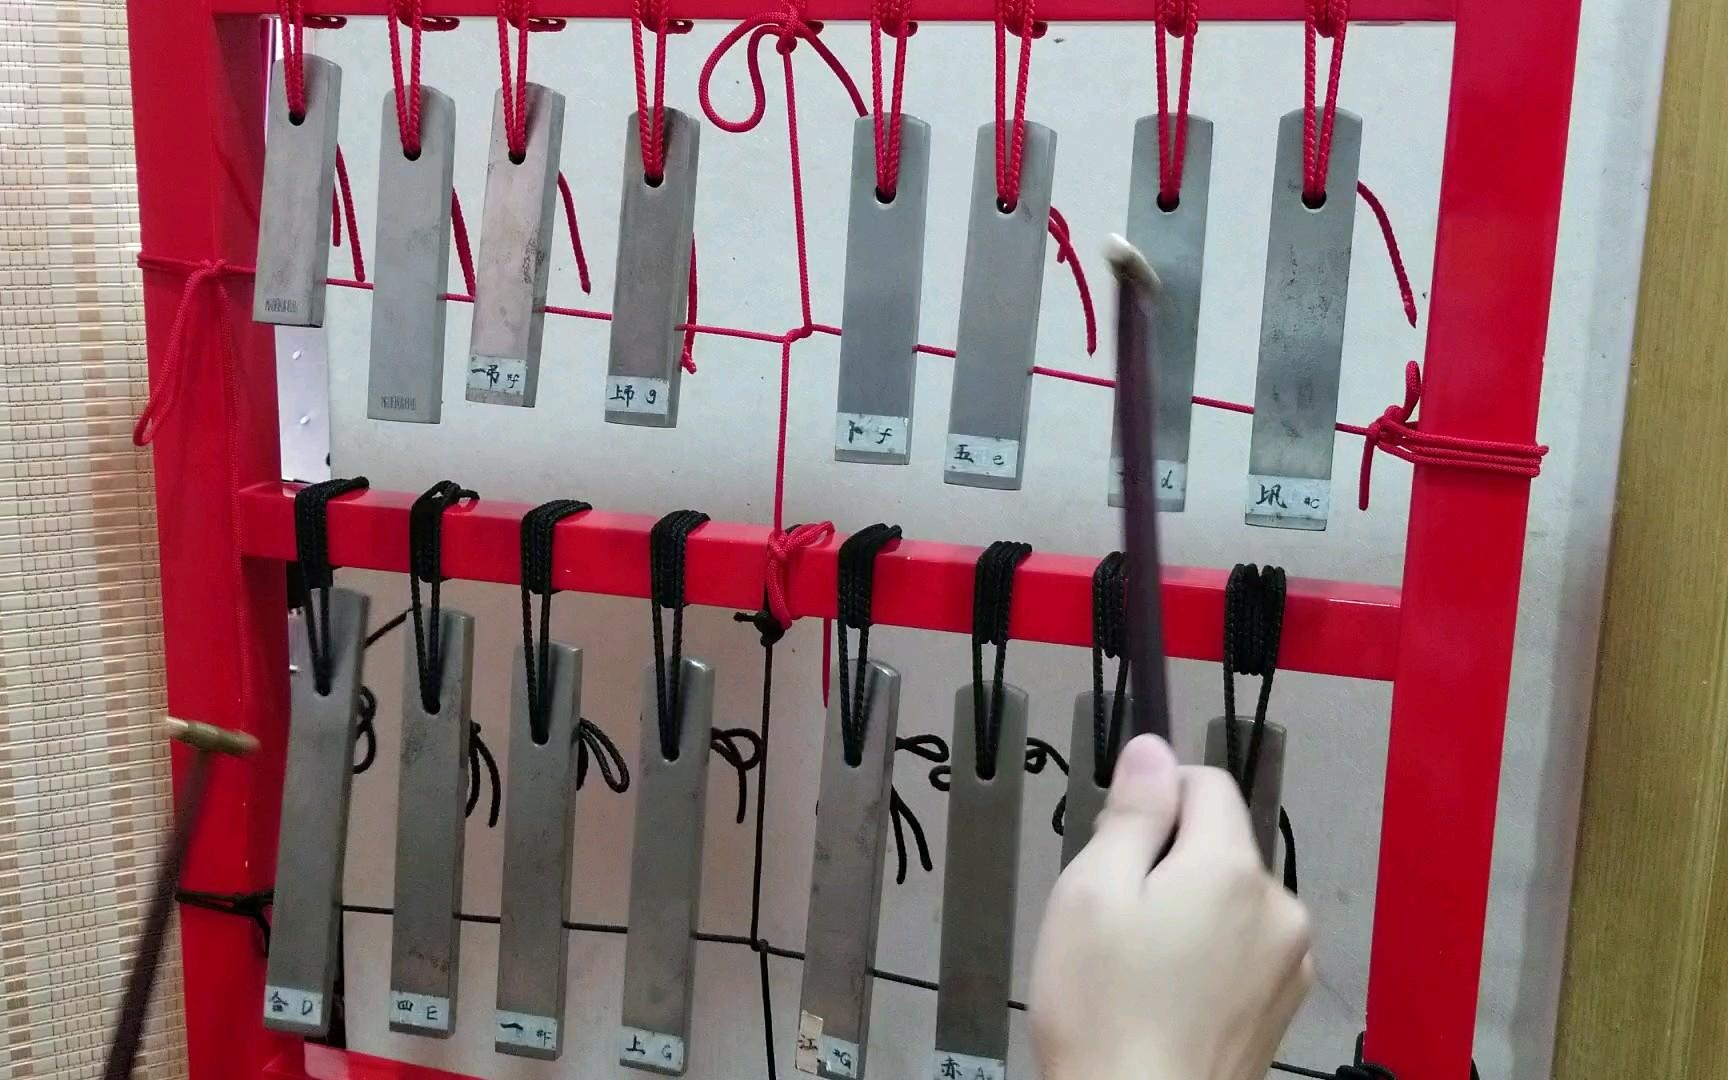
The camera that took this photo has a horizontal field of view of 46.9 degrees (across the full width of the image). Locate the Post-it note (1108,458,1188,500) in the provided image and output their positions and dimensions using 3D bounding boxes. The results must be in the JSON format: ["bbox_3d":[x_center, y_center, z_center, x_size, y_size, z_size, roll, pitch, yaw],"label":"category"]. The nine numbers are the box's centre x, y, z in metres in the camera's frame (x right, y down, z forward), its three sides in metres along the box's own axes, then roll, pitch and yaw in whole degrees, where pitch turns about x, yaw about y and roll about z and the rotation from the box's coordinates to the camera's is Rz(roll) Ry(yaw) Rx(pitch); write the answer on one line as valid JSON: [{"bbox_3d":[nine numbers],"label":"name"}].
[{"bbox_3d":[0.343,-0.072,2.416,0.089,0.058,0.063,4,4,7],"label":"Post-it note"}]

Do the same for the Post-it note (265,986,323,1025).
[{"bbox_3d":[-0.767,0.618,2.676,0.075,0.058,0.045,0,-1,9],"label":"Post-it note"}]

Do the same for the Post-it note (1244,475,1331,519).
[{"bbox_3d":[0.514,-0.055,2.424,0.092,0.050,0.017,5,4,11],"label":"Post-it note"}]
